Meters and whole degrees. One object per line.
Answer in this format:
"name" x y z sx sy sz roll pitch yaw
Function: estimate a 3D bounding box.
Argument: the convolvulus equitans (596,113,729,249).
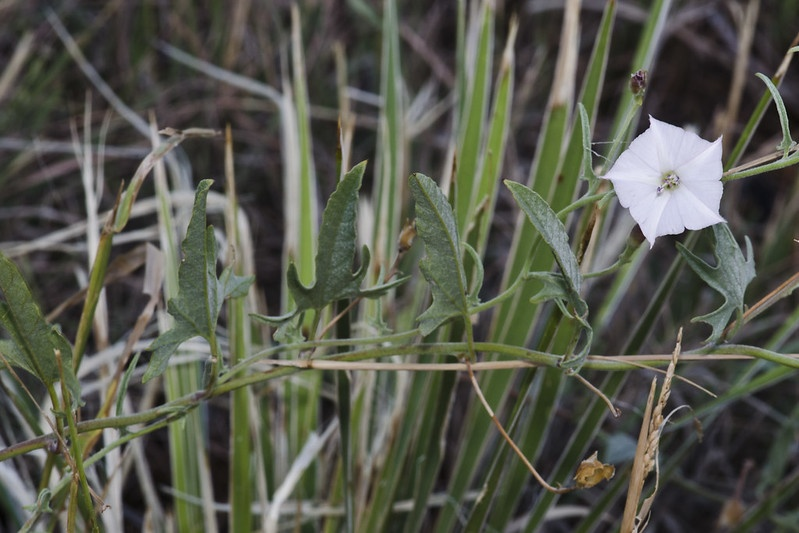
"convolvulus equitans" 0.290 -0.089 0.959 0.134 0.134 0.065 -14 21 -11
